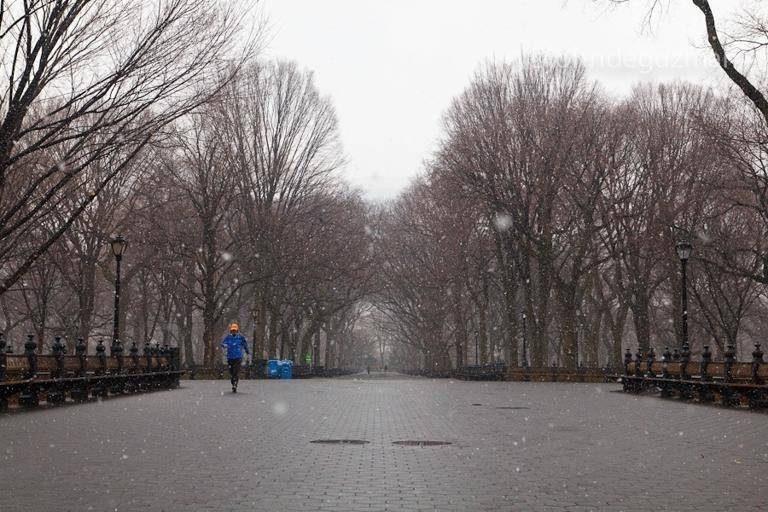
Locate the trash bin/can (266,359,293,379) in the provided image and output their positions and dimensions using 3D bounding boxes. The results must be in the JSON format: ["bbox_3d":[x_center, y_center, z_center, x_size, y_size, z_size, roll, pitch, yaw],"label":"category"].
[{"bbox_3d":[-5.806,6.360,50.281,1.269,1.009,0.964,0,-12,-4],"label":"trash bin/can"}]
